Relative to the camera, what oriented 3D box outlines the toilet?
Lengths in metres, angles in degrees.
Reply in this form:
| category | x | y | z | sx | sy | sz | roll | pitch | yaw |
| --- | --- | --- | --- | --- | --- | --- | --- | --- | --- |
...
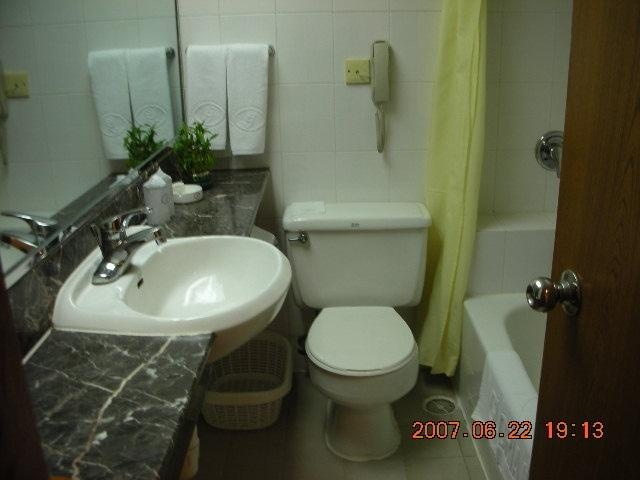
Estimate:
| category | x | y | z | sx | sy | sz | roll | pitch | yaw |
| --- | --- | --- | --- | --- | --- | --- | --- | --- | --- |
| toilet | 0.160 | 0.335 | 2.335 | 0.693 | 1.098 | 0.938 | -2 | 38 | 2 |

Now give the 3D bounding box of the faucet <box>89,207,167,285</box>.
| category | x | y | z | sx | sy | sz | roll | pitch | yaw |
| --- | --- | --- | --- | --- | --- | --- | --- | --- | --- |
| faucet | -0.520 | 0.021 | 1.454 | 0.148 | 0.123 | 0.222 | 5 | 31 | 14 |

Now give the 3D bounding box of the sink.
| category | x | y | z | sx | sy | sz | roll | pitch | yaw |
| --- | --- | --- | --- | --- | --- | --- | --- | --- | --- |
| sink | -0.408 | 0.129 | 1.427 | 0.319 | 0.147 | 0.387 | 3 | 26 | -1 |

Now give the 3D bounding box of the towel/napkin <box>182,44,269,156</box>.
| category | x | y | z | sx | sy | sz | roll | pitch | yaw |
| --- | --- | --- | --- | --- | --- | --- | --- | --- | --- |
| towel/napkin | -0.398 | -0.607 | 2.194 | 0.401 | 0.553 | 0.070 | 3 | 22 | 3 |

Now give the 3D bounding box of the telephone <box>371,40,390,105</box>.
| category | x | y | z | sx | sy | sz | roll | pitch | yaw |
| --- | --- | --- | --- | --- | --- | --- | --- | --- | --- |
| telephone | 0.260 | -0.704 | 2.210 | 0.077 | 0.250 | 0.091 | -1 | 2 | 20 |

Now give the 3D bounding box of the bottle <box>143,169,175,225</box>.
| category | x | y | z | sx | sy | sz | roll | pitch | yaw |
| --- | --- | --- | --- | --- | --- | --- | --- | --- | --- |
| bottle | -0.552 | -0.141 | 1.771 | 0.060 | 0.180 | 0.132 | 3 | 28 | 2 |
